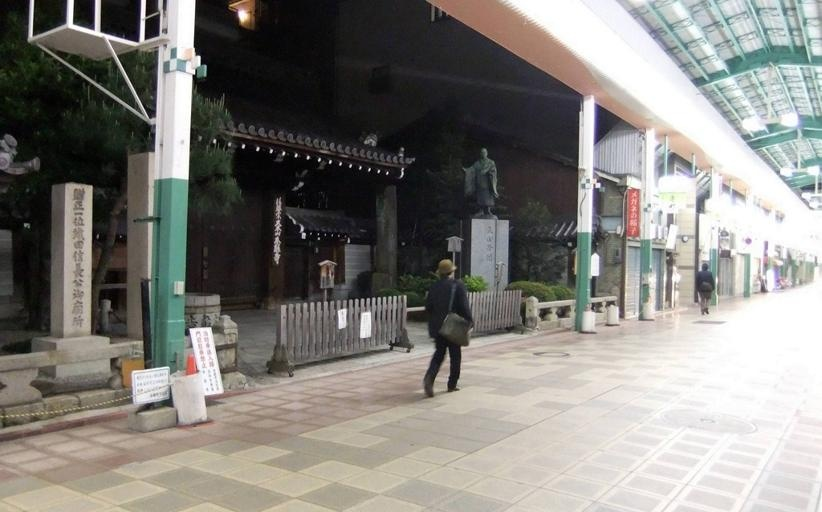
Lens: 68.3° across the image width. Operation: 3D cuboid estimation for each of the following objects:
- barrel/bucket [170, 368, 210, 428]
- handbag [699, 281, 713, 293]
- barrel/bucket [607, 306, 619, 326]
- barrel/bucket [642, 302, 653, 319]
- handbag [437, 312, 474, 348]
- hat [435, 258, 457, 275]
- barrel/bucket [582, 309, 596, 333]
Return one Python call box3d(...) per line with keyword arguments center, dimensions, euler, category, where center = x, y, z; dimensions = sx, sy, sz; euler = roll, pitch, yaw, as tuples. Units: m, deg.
box3d(center=(-4.087, 2.590, 11.151), dimensions=(0.697, 0.923, 0.666), euler=(-8, 4, 1), category="barrel/bucket")
box3d(center=(13.219, 1.357, 27.197), dimensions=(0.493, 0.467, 0.467), euler=(5, -1, -19), category="handbag")
box3d(center=(7.461, 2.207, 22.543), dimensions=(0.435, 0.664, 0.461), euler=(0, 8, 0), category="barrel/bucket")
box3d(center=(9.604, 2.212, 24.626), dimensions=(0.452, 0.689, 0.474), euler=(0, 8, 0), category="barrel/bucket")
box3d(center=(0.859, 1.488, 12.416), dimensions=(0.551, 0.509, 0.229), euler=(28, 4, -9), category="handbag")
box3d(center=(0.649, 0.240, 12.894), dimensions=(0.386, 0.148, 0.349), euler=(-3, 11, 29), category="hat")
box3d(center=(6.081, 2.226, 20.651), dimensions=(0.675, 0.746, 0.683), euler=(1, -4, 0), category="barrel/bucket")
